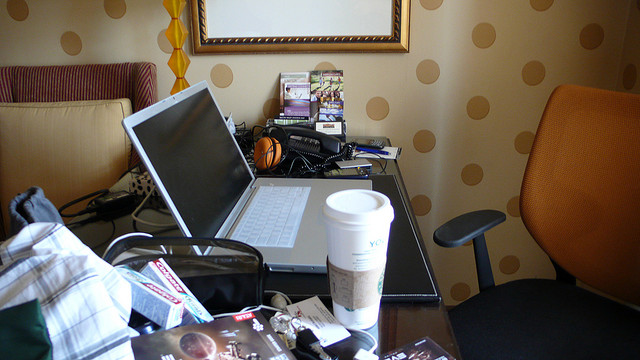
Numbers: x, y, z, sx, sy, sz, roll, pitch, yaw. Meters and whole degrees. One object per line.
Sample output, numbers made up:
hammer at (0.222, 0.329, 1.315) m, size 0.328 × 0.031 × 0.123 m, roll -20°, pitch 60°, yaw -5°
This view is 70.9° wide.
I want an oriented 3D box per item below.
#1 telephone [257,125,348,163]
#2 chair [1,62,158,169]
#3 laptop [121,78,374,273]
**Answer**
telephone at (-0.044, -0.193, 2.168) m, size 0.417 × 0.124 × 0.302 m, roll 8°, pitch 15°, yaw 7°
chair at (-1.243, -0.272, 2.760) m, size 1.049 × 0.663 × 0.650 m, roll 1°, pitch 1°, yaw 3°
laptop at (-0.218, -0.043, 1.652) m, size 0.688 × 0.519 × 0.591 m, roll 8°, pitch 22°, yaw 14°
